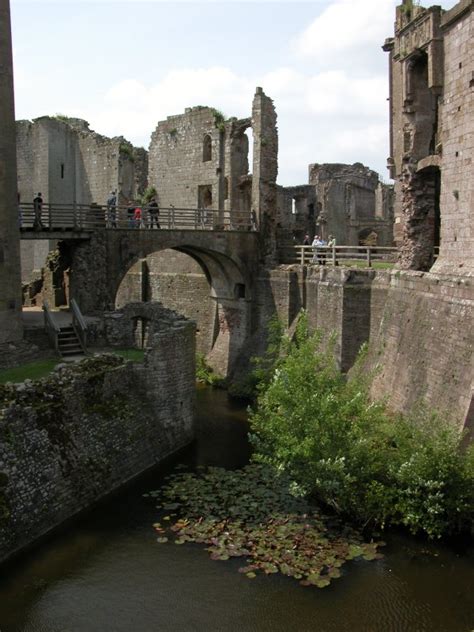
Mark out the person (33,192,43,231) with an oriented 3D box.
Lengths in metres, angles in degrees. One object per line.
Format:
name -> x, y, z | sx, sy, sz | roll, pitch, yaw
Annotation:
person -> -6.141, -3.219, 19.168 | 0.287, 1.159, 1.953 | -4, 7, -18
